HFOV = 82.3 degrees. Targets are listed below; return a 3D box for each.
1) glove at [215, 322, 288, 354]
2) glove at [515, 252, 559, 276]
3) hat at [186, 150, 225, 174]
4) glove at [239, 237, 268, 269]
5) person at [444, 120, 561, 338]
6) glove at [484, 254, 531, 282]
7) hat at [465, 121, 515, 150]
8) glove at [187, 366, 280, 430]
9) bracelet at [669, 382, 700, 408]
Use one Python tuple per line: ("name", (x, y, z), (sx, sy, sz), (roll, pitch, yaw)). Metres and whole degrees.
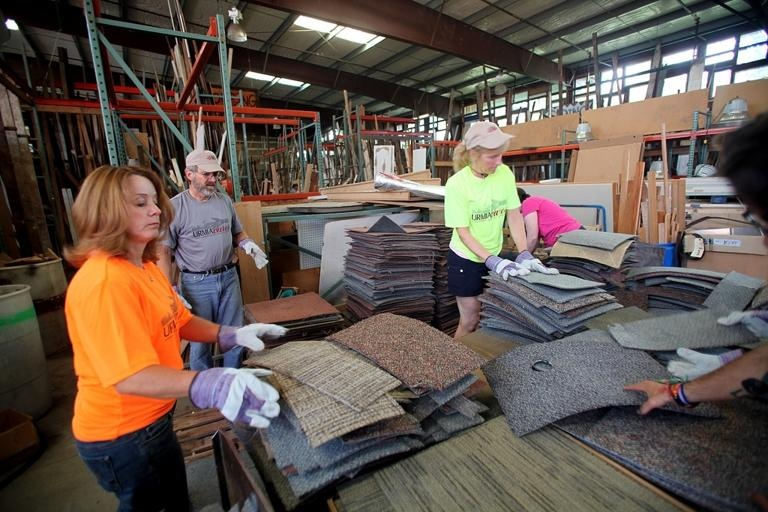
("glove", (-0.886, 0.532, 2.943), (0.301, 0.087, 0.292), (-1, 4, -43))
("glove", (1.184, 0.047, 3.427), (0.269, 0.103, 0.198), (10, 12, 42))
("hat", (-1.672, -0.883, 4.090), (0.325, 0.133, 0.210), (5, 5, 18))
("glove", (-1.304, 0.000, 4.566), (0.148, 0.230, 0.379), (-30, -16, 7))
("person", (0.908, -0.163, 3.714), (0.765, 1.882, 0.935), (-1, 14, 7))
("glove", (0.940, 0.086, 3.337), (0.218, 0.066, 0.211), (-8, 15, -43))
("hat", (0.835, -0.942, 3.473), (0.342, 0.154, 0.253), (4, 18, 32))
("glove", (-0.761, 0.749, 2.472), (0.559, 0.199, 0.356), (-4, 5, 15))
("bracelet", (1.539, 0.725, 2.282), (0.152, 0.110, 0.071), (-13, 54, 3))
